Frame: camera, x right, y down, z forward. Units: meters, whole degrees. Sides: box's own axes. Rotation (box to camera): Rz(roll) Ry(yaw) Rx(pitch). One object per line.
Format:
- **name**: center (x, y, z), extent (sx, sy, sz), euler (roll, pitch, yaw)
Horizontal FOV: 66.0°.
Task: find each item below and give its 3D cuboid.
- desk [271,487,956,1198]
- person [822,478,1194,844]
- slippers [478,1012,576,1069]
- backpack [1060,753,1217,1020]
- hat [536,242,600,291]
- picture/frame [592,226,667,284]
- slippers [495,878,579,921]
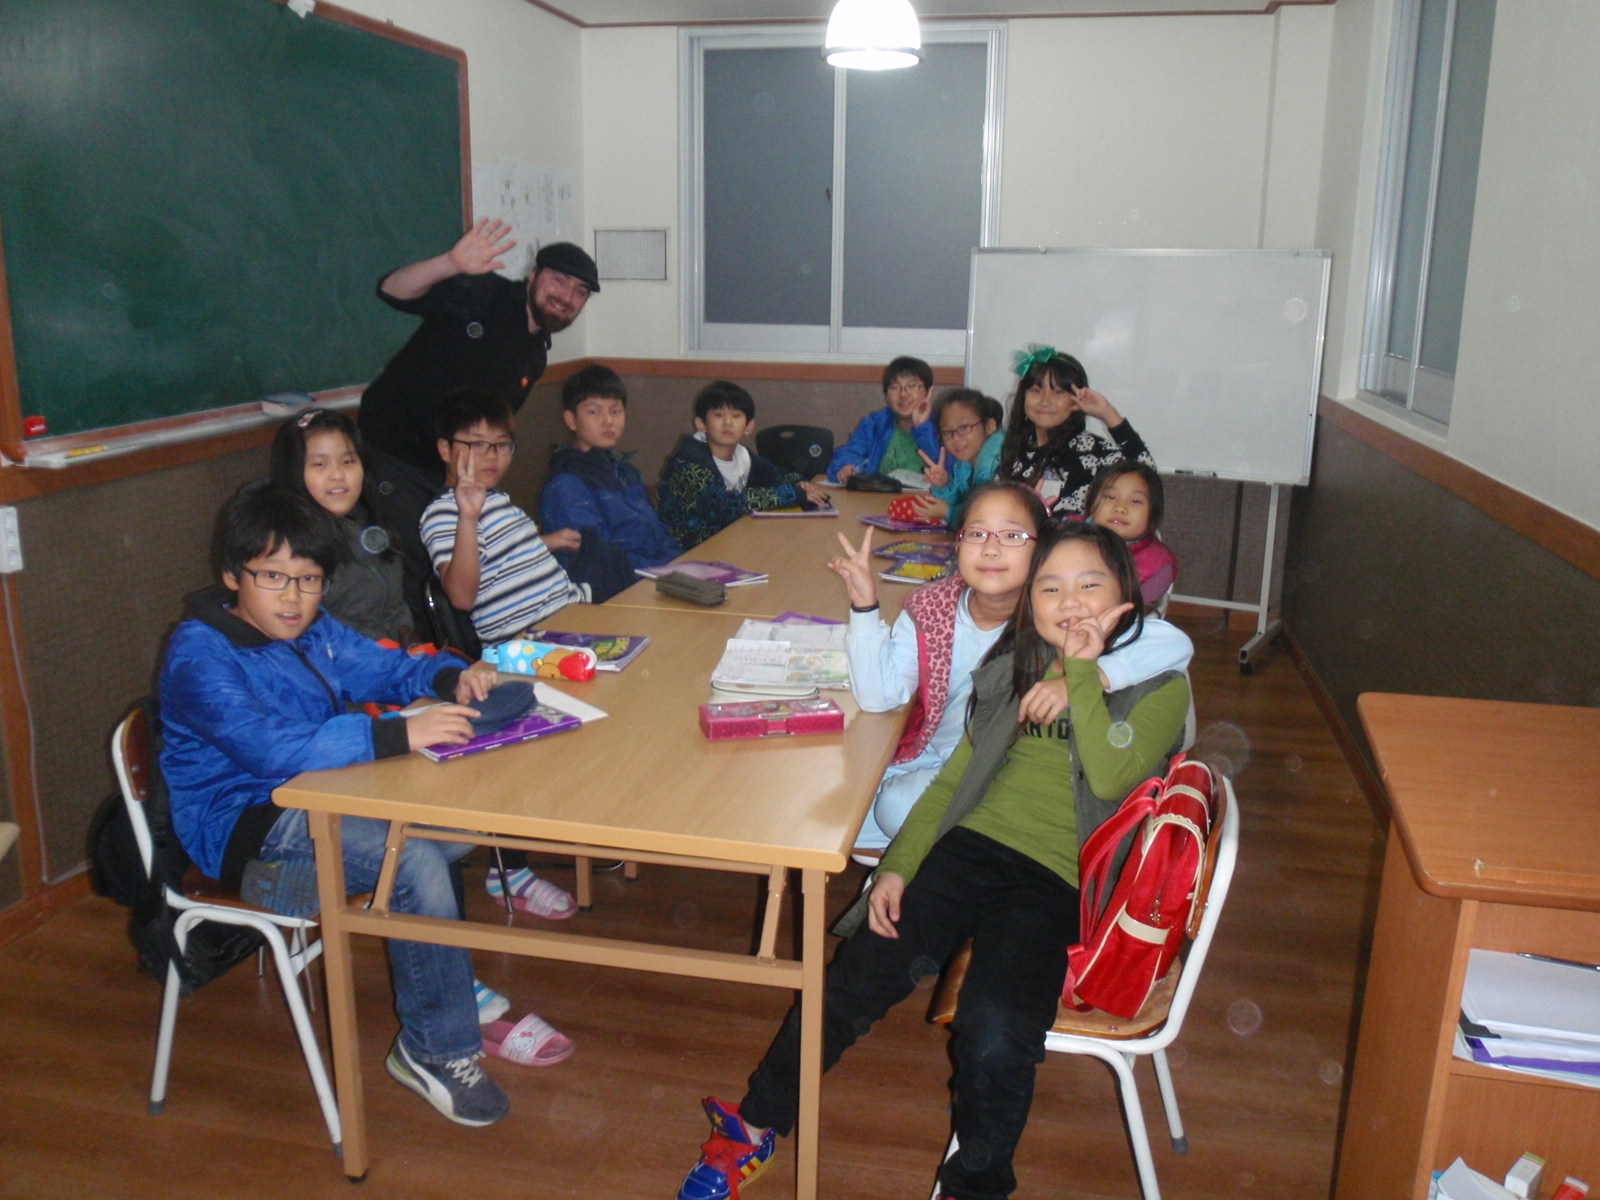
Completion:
- **desk**: center (-0.308, 0.591, 2.954), extent (1.110, 0.920, 1.376), euler (5, 19, 12)
- **person**: center (0.454, 0.145, 2.703), extent (0.555, 0.890, 0.515), euler (16, 17, -1)
- **slippers**: center (-0.624, 1.022, 2.889), extent (0.185, 0.060, 0.096), euler (12, 25, 20)
- **backpack**: center (0.623, 0.525, 2.276), extent (0.182, 0.364, 0.372), euler (18, 28, 16)
- **hat**: center (-0.893, -1.299, 4.680), extent (0.192, 0.153, 0.262), euler (7, 10, -30)
- **picture/frame**: center (-0.863, -1.797, 6.414), extent (0.392, 0.280, 0.056), euler (5, 18, 11)
- **slippers**: center (-0.747, 0.808, 3.438), extent (0.248, 0.116, 0.120), euler (7, 22, 3)
